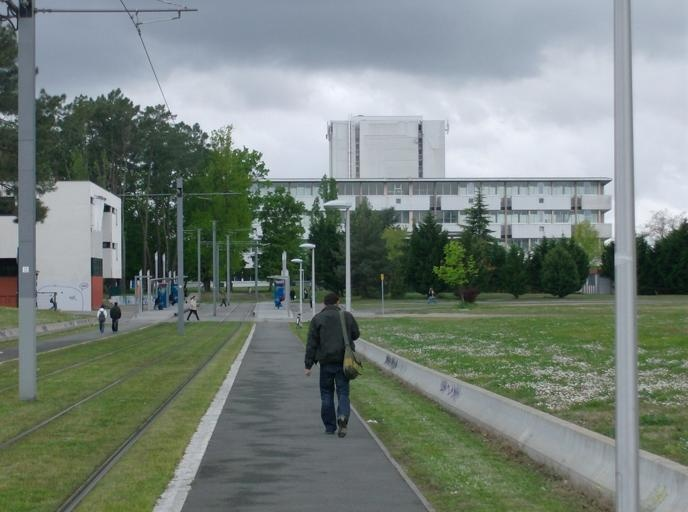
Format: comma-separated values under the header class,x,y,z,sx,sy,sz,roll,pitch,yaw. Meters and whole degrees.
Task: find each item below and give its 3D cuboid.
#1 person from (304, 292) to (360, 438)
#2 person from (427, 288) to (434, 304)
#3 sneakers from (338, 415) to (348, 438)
class,x,y,z,sx,sy,sz,roll,pitch,yaw
person,-0.230,2.216,21.693,0.957,2.799,1.059,-1,3,29
person,7.152,3.288,86.863,0.826,0.535,1.367,6,-44,14
sneakers,-0.030,3.436,21.208,0.147,0.448,0.191,-3,-9,7
